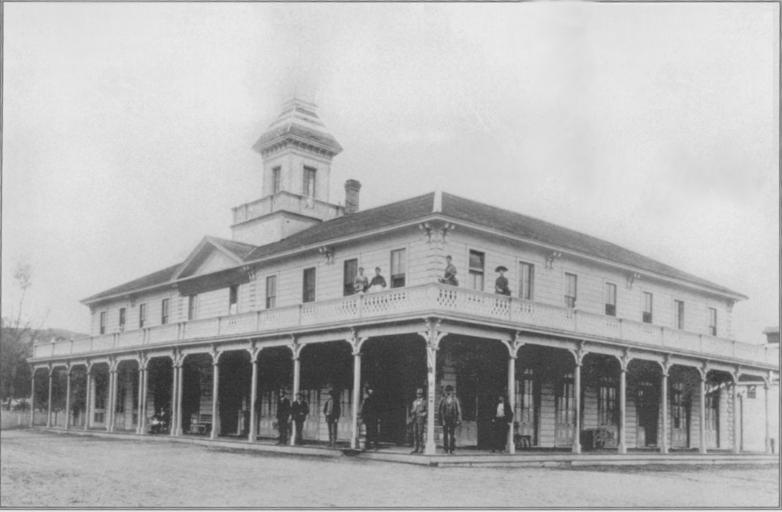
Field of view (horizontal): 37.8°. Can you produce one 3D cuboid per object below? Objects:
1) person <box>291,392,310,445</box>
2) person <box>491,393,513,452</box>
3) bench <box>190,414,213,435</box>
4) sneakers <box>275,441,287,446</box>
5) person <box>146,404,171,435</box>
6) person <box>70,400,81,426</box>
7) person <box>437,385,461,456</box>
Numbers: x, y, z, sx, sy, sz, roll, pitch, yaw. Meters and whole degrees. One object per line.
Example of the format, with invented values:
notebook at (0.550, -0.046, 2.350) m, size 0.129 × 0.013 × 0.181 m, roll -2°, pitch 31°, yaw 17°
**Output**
person at (-3.254, 5.813, 40.826) m, size 0.543 × 1.872 × 1.059 m, roll 2°, pitch -18°, yaw -4°
person at (3.853, 5.720, 38.806) m, size 0.625 × 1.811 × 0.960 m, roll 0°, pitch -18°, yaw 0°
bench at (-7.954, 7.119, 48.137) m, size 0.793 × 0.706 × 0.411 m, roll -11°, pitch -19°, yaw 41°
sneakers at (-3.986, 6.768, 41.188) m, size 0.165 × 0.192 × 0.503 m, roll 6°, pitch -6°, yaw -37°
person at (-9.918, 7.119, 49.118) m, size 0.846 × 1.047 × 0.387 m, roll -2°, pitch -2°, yaw 4°
person at (-14.918, 7.420, 53.969) m, size 0.414 × 1.148 × 0.605 m, roll 5°, pitch -18°, yaw -14°
person at (1.944, 5.431, 37.600) m, size 0.675 × 2.325 × 0.800 m, roll -8°, pitch -20°, yaw 24°
